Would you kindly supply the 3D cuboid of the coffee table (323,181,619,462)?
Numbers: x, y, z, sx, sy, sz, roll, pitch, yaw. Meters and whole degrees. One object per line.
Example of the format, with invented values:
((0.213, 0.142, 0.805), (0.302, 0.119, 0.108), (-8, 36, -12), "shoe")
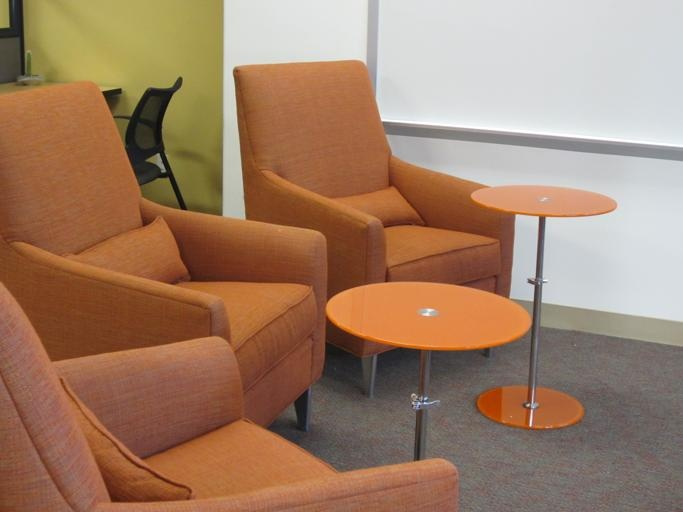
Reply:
((0.510, 0.271, 2.497), (0.521, 0.660, 1.078), (10, 16, 36), "coffee table")
